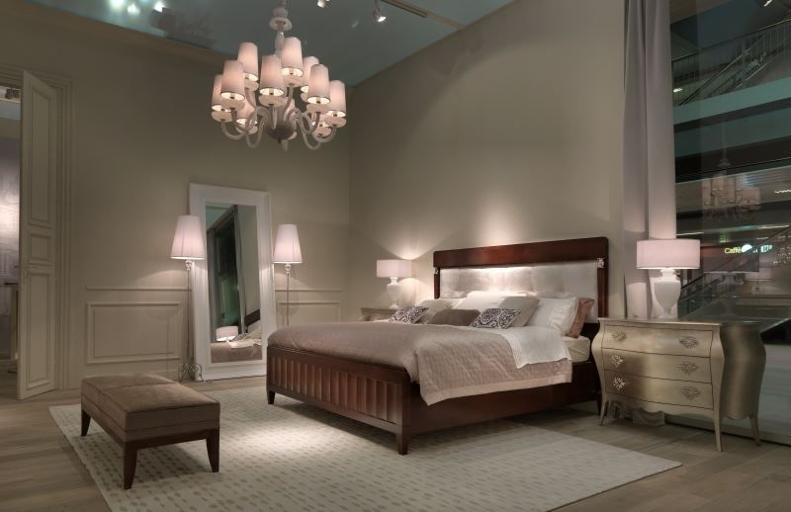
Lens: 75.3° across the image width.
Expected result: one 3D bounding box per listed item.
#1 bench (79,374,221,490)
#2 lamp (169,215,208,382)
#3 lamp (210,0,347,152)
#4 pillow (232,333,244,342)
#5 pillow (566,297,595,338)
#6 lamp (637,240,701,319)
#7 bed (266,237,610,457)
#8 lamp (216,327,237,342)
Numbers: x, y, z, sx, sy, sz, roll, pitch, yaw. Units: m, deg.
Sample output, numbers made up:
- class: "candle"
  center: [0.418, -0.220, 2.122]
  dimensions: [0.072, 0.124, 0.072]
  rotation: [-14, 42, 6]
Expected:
- class: "bench"
  center: [-2.079, 1.407, 4.292]
  dimensions: [1.274, 0.630, 0.658]
  rotation: [3, 4, 44]
- class: "lamp"
  center: [-2.870, 0.573, 7.108]
  dimensions: [0.434, 2.287, 0.434]
  rotation: [-2, 4, -20]
- class: "lamp"
  center: [-1.260, -2.138, 5.658]
  dimensions: [1.262, 2.067, 2.090]
  rotation: [-1, 3, -10]
- class: "pillow"
  center: [-2.296, 1.172, 7.344]
  dimensions: [0.111, 0.046, 0.157]
  rotation: [0, 5, 11]
- class: "pillow"
  center: [1.961, 0.648, 5.445]
  dimensions: [0.117, 0.375, 0.385]
  rotation: [16, -2, 15]
- class: "lamp"
  center: [2.608, 0.218, 4.939]
  dimensions: [0.523, 0.756, 0.435]
  rotation: [1, 4, 24]
- class: "bed"
  center: [0.567, 1.084, 5.491]
  dimensions: [2.550, 1.906, 2.587]
  rotation: [5, -8, -34]
- class: "lamp"
  center: [-2.418, 1.110, 7.280]
  dimensions: [0.222, 0.131, 0.218]
  rotation: [-2, -3, 1]
